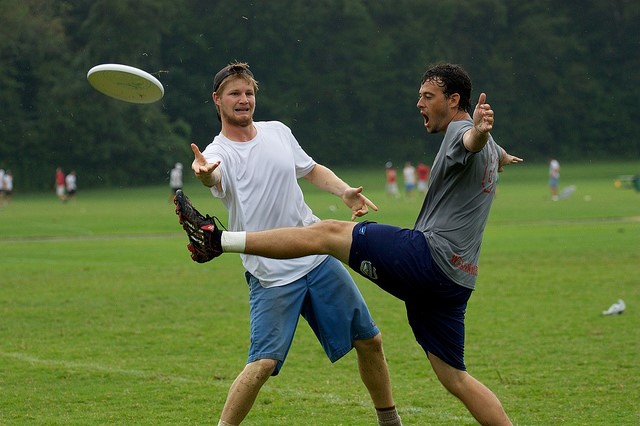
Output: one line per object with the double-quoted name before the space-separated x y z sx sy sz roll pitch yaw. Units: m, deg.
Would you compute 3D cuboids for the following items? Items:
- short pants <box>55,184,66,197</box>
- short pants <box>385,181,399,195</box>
"short pants" -4.177 -0.364 16.940 0.168 0.176 0.073 -1 7 -16
"short pants" 2.585 -0.910 37.644 0.656 0.426 0.709 -3 -5 0
